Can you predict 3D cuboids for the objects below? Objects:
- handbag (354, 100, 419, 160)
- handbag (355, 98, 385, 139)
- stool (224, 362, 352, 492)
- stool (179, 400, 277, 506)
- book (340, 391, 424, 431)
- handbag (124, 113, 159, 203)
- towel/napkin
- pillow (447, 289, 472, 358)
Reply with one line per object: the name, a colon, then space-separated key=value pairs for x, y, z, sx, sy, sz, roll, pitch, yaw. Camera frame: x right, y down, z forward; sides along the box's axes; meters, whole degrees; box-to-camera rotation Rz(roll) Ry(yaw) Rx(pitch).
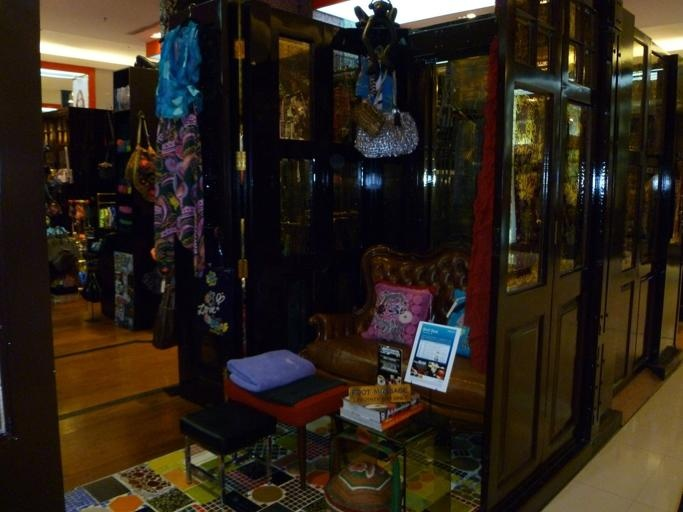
handbag: x=0.312 y=-0.912 z=4.062 sx=0.370 sy=0.359 sz=0.194 roll=-10 pitch=17 yaw=-21
handbag: x=0.204 y=-0.957 z=3.943 sx=0.195 sy=0.253 sz=0.122 roll=2 pitch=9 yaw=11
stool: x=-0.237 y=0.979 z=3.480 sx=0.432 sy=0.356 sz=0.627 roll=3 pitch=5 yaw=34
stool: x=-0.642 y=1.095 z=3.240 sx=0.376 sy=0.403 sz=0.403 roll=10 pitch=11 yaw=43
book: x=0.225 y=0.807 z=2.959 sx=0.447 sy=0.106 sz=0.204 roll=-1 pitch=10 yaw=-10
handbag: x=-1.988 y=-1.013 z=5.730 sx=0.379 sy=0.817 sz=0.324 roll=-6 pitch=12 yaw=-39
towel/napkin: x=-0.422 y=0.698 z=3.490 sx=0.275 sy=0.093 sz=0.282 roll=8 pitch=12 yaw=44
pillow: x=0.789 y=0.453 z=3.795 sx=0.142 sy=0.355 sz=0.281 roll=1 pitch=0 yaw=3
